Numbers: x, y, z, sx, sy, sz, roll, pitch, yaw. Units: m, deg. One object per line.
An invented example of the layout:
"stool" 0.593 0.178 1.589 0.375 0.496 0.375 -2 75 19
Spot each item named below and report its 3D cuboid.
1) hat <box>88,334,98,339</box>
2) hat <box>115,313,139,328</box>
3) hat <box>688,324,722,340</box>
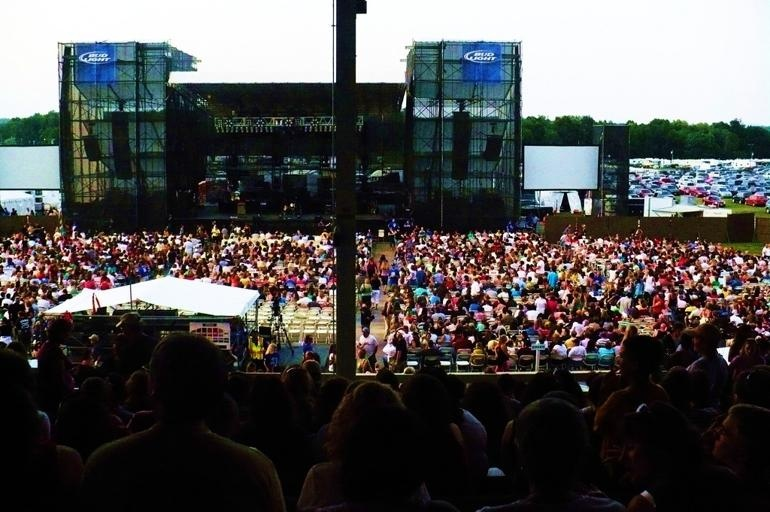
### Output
"hat" -8.919 2.521 34.750 0.244 0.122 0.194 12 10 32
"hat" -6.826 1.730 30.291 0.598 0.309 0.441 3 1 2
"hat" 8.139 1.941 29.418 0.856 0.334 0.558 2 2 27
